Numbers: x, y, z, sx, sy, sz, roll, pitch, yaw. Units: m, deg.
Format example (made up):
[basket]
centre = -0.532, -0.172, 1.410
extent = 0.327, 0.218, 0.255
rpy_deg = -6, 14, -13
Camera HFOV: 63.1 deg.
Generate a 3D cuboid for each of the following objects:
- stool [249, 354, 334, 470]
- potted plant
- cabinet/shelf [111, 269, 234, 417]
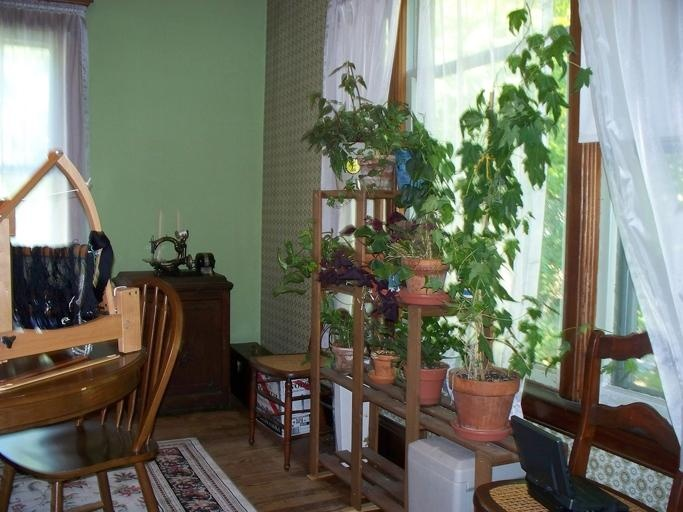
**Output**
[stool]
centre = -0.360, 0.826, 3.259
extent = 0.526, 0.581, 0.647
rpy_deg = -3, 7, -31
[potted plant]
centre = 0.477, -0.132, 2.768
extent = 1.135, 1.716, 1.553
rpy_deg = -3, 4, -45
[cabinet/shelf]
centre = -1.165, 0.601, 4.195
extent = 0.686, 0.950, 0.617
rpy_deg = 0, 10, -10
